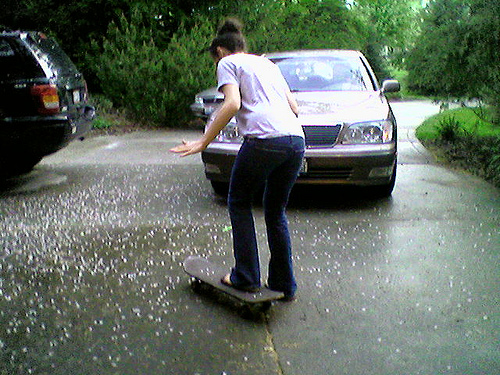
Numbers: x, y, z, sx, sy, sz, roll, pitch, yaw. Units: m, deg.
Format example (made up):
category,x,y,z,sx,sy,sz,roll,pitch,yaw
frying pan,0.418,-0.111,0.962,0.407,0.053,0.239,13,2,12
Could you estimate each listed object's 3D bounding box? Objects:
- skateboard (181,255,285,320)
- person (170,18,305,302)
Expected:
category,x,y,z,sx,sy,sz,roll,pitch,yaw
skateboard,-0.197,0.772,3.473,0.336,0.250,1.119,-28,33,-37
person,-0.032,-0.238,3.305,0.865,2.197,0.799,-2,3,-28
